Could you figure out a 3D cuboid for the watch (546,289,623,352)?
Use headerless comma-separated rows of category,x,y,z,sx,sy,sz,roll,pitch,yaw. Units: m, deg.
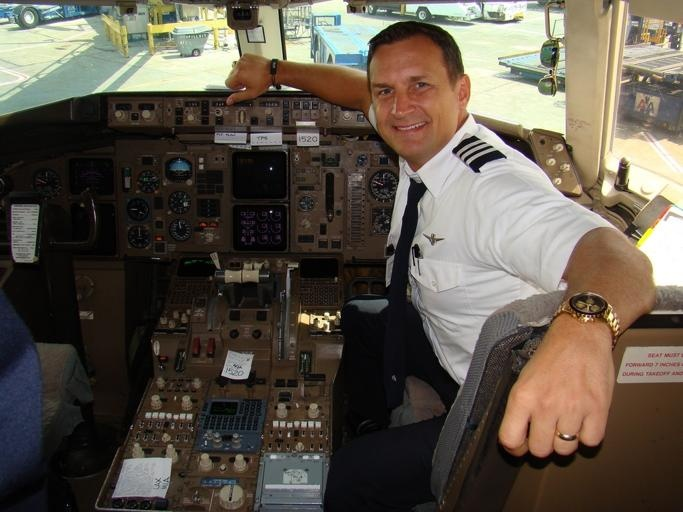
watch,0.453,0.106,0.952,0.115,0.112,0.069,5,48,23

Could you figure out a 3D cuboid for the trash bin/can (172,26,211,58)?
trash bin/can,-1.311,-1.905,4.519,0.233,0.187,0.169,-5,40,-20

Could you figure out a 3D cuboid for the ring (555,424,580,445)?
ring,0.393,0.311,0.890,0.033,0.014,0.037,7,-13,-3
